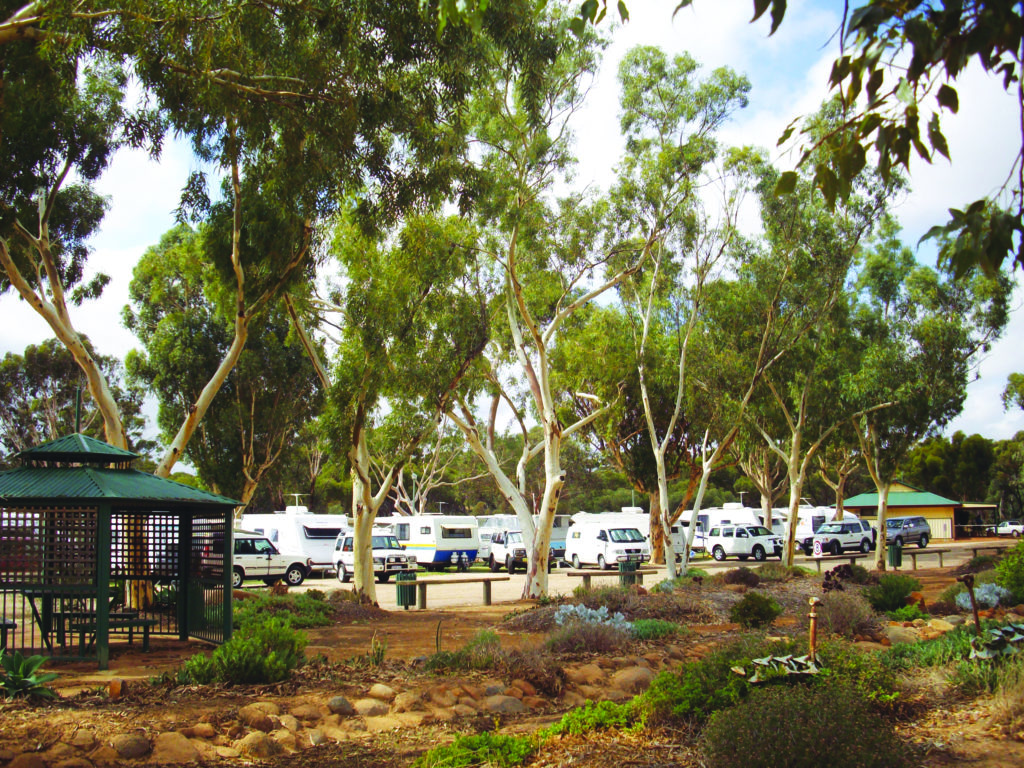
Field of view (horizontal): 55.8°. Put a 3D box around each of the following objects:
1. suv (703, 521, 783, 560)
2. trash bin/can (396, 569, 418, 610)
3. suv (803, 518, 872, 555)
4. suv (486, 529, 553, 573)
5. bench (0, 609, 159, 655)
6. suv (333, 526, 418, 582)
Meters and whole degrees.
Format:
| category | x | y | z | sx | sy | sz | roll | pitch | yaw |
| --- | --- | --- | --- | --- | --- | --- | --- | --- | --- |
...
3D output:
| category | x | y | z | sx | sy | sz | roll | pitch | yaw |
| --- | --- | --- | --- | --- | --- | --- | --- | --- | --- |
| suv | 11.512 | 7.796 | 47.815 | 1.352 | 1.702 | 4.117 | 6 | -13 | -32 |
| trash bin/can | -3.027 | 5.908 | 27.745 | 0.521 | 1.029 | 1.393 | 1 | -10 | -5 |
| suv | 16.770 | 7.672 | 48.730 | 4.320 | 1.758 | 1.407 | 10 | -13 | -41 |
| suv | -0.134 | 7.734 | 44.989 | 1.137 | 2.055 | 3.695 | 2 | -11 | -14 |
| bench | -7.781 | 4.467 | 17.502 | 2.313 | 0.671 | 3.790 | 4 | -13 | -20 |
| suv | -5.609 | 6.896 | 38.924 | 3.638 | 2.049 | 2.005 | -5 | -11 | 23 |
